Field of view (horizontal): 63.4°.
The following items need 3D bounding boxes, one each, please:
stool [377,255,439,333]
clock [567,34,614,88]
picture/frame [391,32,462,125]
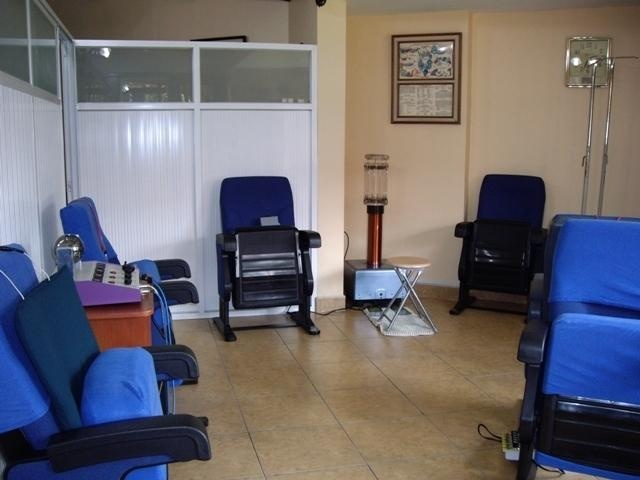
[{"bbox_3d":[0.788,0.467,4.914,0.597,0.871,0.580,2,6,-2],"label":"stool"},{"bbox_3d":[2.686,-1.772,5.184,0.420,0.499,0.111,4,12,18],"label":"clock"},{"bbox_3d":[1.135,-1.710,5.389,0.866,1.221,0.081,0,3,13],"label":"picture/frame"}]
